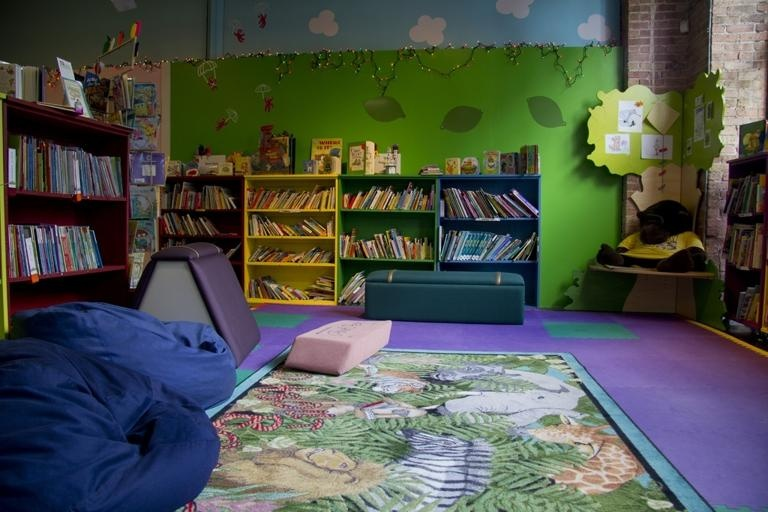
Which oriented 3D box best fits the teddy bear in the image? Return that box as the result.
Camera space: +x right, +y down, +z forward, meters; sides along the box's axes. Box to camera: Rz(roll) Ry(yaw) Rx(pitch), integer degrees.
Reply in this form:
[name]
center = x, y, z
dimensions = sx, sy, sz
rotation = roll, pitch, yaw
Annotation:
[teddy bear]
center = 3.251, -0.233, 6.211
dimensions = 1.127, 0.769, 0.893
rotation = 2, 8, 42
